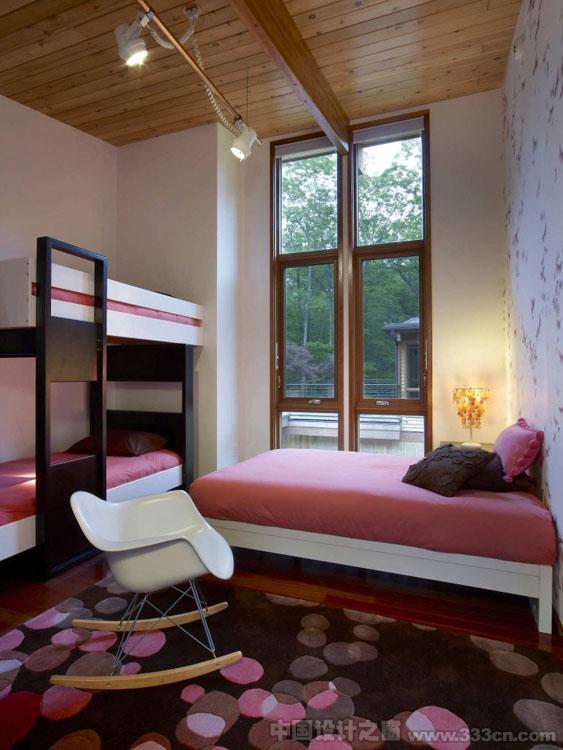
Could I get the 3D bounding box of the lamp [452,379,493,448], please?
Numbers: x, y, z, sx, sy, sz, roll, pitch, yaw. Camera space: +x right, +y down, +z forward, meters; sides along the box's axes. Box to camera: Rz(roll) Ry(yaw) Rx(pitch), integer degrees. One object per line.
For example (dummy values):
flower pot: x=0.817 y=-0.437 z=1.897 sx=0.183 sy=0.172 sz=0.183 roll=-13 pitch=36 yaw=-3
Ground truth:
lamp: x=1.353 y=0.284 z=4.106 sx=0.264 sy=0.404 sz=0.257 roll=-1 pitch=2 yaw=17

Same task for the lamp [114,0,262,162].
lamp: x=-0.597 y=-1.919 z=3.731 sx=0.181 sy=0.372 sz=0.870 roll=-5 pitch=-38 yaw=24

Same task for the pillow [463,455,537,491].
pillow: x=1.058 y=0.505 z=2.782 sx=0.219 sy=0.066 sz=0.219 roll=-22 pitch=15 yaw=-29

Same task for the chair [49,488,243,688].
chair: x=-0.552 y=0.812 z=2.340 sx=0.776 sy=0.667 sz=0.671 roll=0 pitch=-1 yaw=-24
